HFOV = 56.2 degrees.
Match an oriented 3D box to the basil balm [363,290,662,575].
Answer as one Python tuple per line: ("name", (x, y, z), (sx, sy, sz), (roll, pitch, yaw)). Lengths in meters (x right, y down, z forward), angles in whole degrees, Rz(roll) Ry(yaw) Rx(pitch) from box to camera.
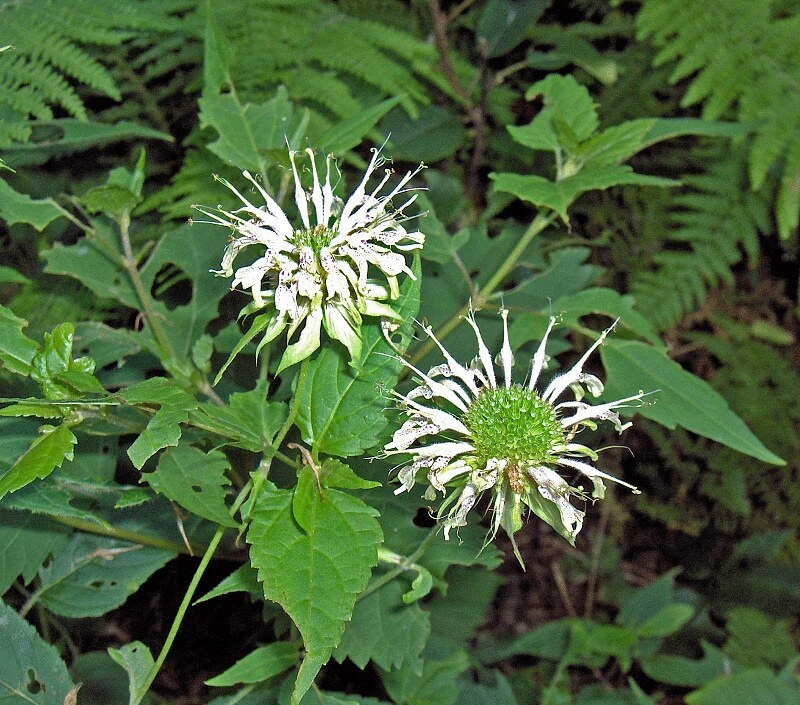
("basil balm", (0.208, 0.172, 1.834), (0.526, 0.725, 0.607), (0, 11, -13))

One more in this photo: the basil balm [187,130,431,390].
("basil balm", (-0.240, -0.104, 1.959), (0.448, 0.885, 0.729), (-2, 53, -13))
